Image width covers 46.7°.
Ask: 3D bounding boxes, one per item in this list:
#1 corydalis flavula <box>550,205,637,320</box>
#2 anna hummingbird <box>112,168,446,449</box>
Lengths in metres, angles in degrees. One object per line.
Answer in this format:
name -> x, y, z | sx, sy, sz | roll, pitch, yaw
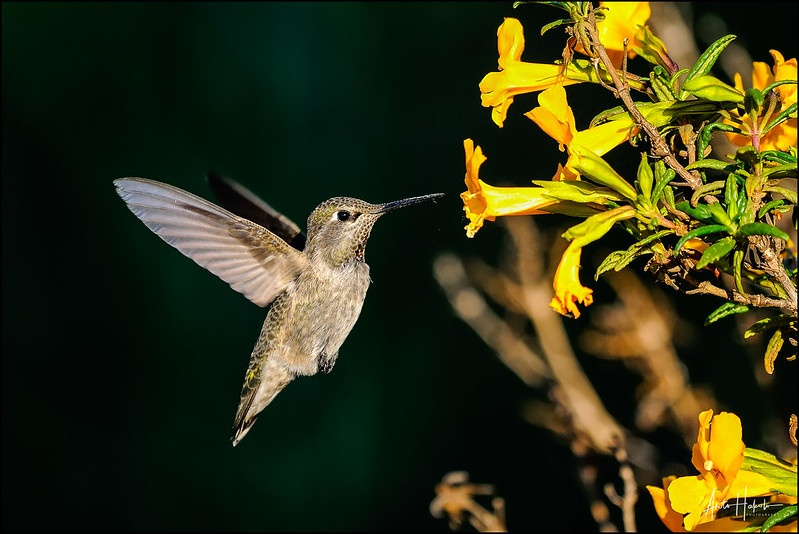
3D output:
corydalis flavula -> 0.596, -0.008, 2.881 | 0.269, 0.459, 0.136 | 18, -23, -11
anna hummingbird -> -0.648, 0.131, 3.889 | 1.302, 1.071, 1.237 | -17, -2, 33
